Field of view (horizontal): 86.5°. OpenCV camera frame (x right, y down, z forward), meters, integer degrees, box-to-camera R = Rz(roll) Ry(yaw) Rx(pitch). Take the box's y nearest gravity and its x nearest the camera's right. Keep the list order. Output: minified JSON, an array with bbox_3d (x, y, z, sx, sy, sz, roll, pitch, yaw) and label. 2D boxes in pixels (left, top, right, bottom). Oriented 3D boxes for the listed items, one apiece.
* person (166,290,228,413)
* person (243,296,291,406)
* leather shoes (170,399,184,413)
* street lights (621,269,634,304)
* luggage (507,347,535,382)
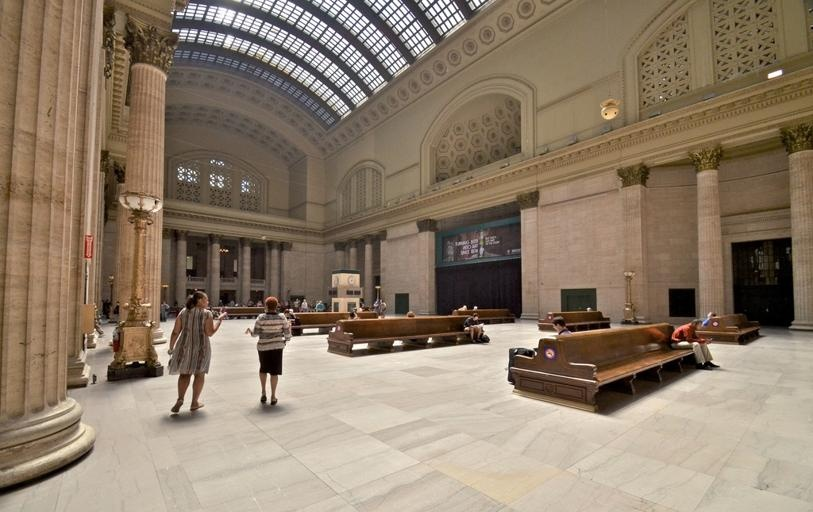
[{"bbox_3d":[-4.151,1.797,8.514,0.920,2.282,1.062,-4,9,-23],"label":"person"},{"bbox_3d":[-2.766,1.889,8.873,0.735,2.109,1.270,-3,8,-19],"label":"person"},{"bbox_3d":[-4.329,2.784,8.139,0.197,0.247,0.250,-5,9,-31],"label":"leather shoes"},{"bbox_3d":[10.682,1.491,20.783,0.450,1.498,0.876,4,9,26],"label":"street lights"},{"bbox_3d":[2.405,2.364,9.548,0.834,0.839,0.645,0,-8,5],"label":"luggage"}]
